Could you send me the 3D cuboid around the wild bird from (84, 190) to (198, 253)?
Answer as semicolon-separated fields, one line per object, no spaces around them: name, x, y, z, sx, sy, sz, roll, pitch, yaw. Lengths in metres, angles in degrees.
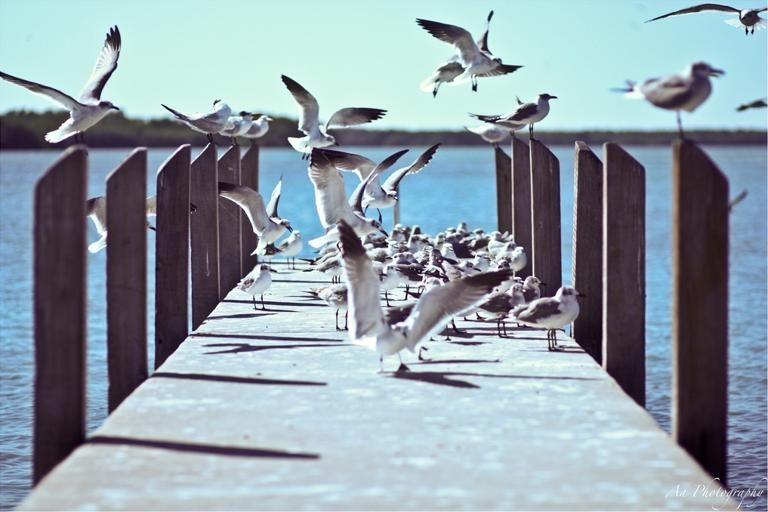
wild bird;-3.799;-0.464;19.394;1.721;0.388;0.947;7;-28;-22
